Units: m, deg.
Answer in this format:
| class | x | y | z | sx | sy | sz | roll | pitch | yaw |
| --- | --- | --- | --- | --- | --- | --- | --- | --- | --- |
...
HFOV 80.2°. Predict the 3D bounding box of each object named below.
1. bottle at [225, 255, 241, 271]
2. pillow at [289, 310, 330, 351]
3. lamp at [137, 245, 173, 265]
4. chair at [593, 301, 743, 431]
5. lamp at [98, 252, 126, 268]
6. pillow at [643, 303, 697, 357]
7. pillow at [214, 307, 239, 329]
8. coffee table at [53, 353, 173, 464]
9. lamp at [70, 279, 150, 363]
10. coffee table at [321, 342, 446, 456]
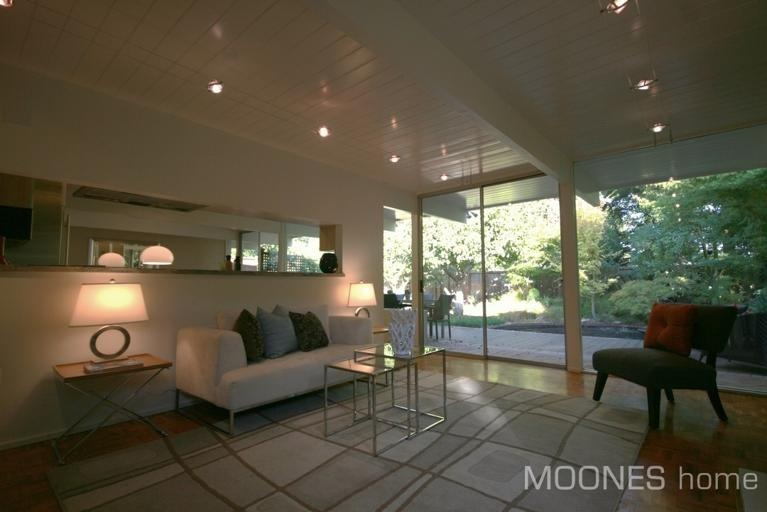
| class | x | y | z | sx | sy | sz | roll | pitch | yaw |
| --- | --- | --- | --- | --- | --- | --- | --- | --- | --- |
| bottle | -1.896 | 0.083 | 5.734 | 0.133 | 0.205 | 0.211 | -2 | -7 | 19 |
| pillow | -0.921 | 0.900 | 5.571 | 0.138 | 0.446 | 0.459 | -33 | -7 | 25 |
| lamp | -2.598 | -0.006 | 5.219 | 0.237 | 0.166 | 0.242 | -2 | -3 | 40 |
| chair | 3.130 | 1.257 | 5.452 | 1.366 | 1.674 | 1.249 | 9 | -12 | -13 |
| lamp | -2.953 | 0.041 | 4.938 | 0.189 | 0.186 | 0.181 | 9 | 9 | -14 |
| pillow | 3.193 | 0.801 | 5.053 | 0.179 | 0.505 | 0.502 | 10 | -4 | -15 |
| pillow | -1.837 | 0.728 | 5.353 | 0.241 | 0.227 | 0.087 | 6 | 3 | -13 |
| coffee table | -2.607 | 1.312 | 4.541 | 0.819 | 0.936 | 1.207 | -2 | -4 | 41 |
| lamp | -2.779 | 0.648 | 4.552 | 0.419 | 0.831 | 0.816 | -3 | -4 | 40 |
| coffee table | 0.067 | 1.460 | 5.126 | 0.858 | 0.851 | 1.294 | -6 | -10 | 38 |
